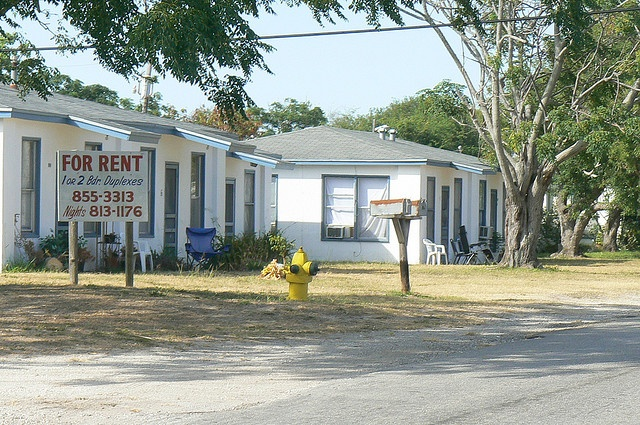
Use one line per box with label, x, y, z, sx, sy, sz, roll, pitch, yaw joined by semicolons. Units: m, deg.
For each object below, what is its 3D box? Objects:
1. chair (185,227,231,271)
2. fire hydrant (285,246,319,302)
chair;-3.485;1.133;39.006;0.883;1.297;1.231;0;0;33
fire hydrant;-0.505;1.573;31.770;0.827;1.449;0.641;13;-1;-33
